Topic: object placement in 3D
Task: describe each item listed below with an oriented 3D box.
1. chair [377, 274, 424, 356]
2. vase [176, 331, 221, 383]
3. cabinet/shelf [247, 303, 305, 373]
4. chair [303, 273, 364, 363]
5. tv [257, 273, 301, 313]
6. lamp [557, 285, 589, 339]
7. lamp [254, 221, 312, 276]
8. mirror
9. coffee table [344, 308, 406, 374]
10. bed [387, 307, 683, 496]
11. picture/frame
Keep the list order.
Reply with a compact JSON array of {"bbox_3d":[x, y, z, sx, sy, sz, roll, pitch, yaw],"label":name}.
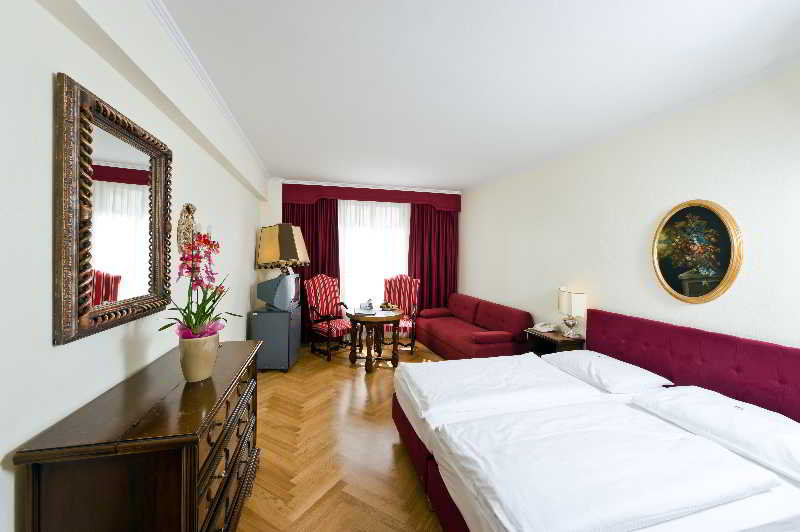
[{"bbox_3d":[-0.039,0.627,7.169,0.575,1.008,0.618,2,1,8],"label":"chair"},{"bbox_3d":[-1.283,0.572,3.177,0.276,0.325,0.277,-6,-7,41],"label":"vase"},{"bbox_3d":[-1.415,0.767,5.895,0.592,0.844,1.130,0,-1,-4],"label":"cabinet/shelf"},{"bbox_3d":[-0.916,0.653,6.735,0.697,0.989,0.746,3,6,11],"label":"chair"},{"bbox_3d":[-1.452,0.310,5.921,0.379,0.365,0.492,1,-1,0],"label":"tv"},{"bbox_3d":[1.781,0.472,5.197,0.206,0.499,0.432,-1,2,-13],"label":"lamp"},{"bbox_3d":[-1.472,-0.121,6.124,0.623,0.705,0.668,-5,-1,-31],"label":"lamp"},{"bbox_3d":[-1.761,-0.328,3.087,0.148,1.526,0.746,0,2,19],"label":"mirror"},{"bbox_3d":[-0.312,0.898,6.076,0.703,0.639,0.672,3,4,38],"label":"coffee table"},{"bbox_3d":[1.330,1.401,5.379,1.214,1.014,2.293,4,1,-12],"label":"bed"},{"bbox_3d":[2.484,-0.125,4.111,0.145,1.079,0.892,3,-4,-31],"label":"picture/frame"}]
